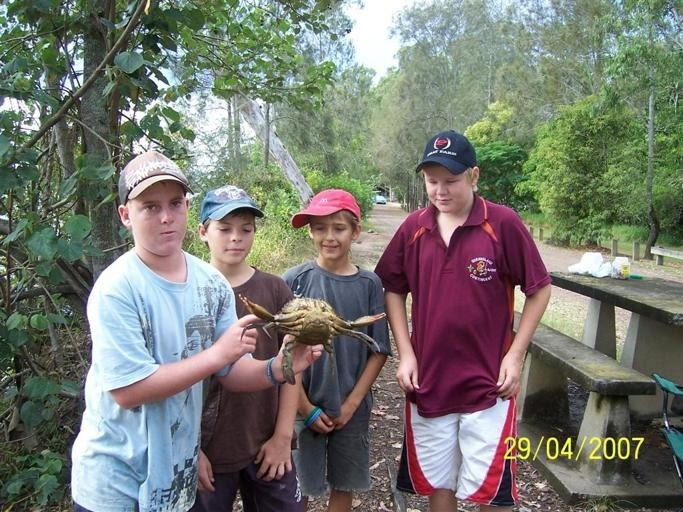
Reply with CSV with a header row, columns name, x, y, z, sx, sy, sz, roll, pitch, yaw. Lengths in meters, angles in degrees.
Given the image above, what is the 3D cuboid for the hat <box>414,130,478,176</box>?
name,x,y,z,sx,sy,sz,roll,pitch,yaw
hat,0.770,-0.732,4.136,0.275,0.258,0.411,7,9,33

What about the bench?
name,x,y,z,sx,sy,sz,roll,pitch,yaw
bench,2.363,1.427,5.938,0.488,0.962,2.000,-1,6,-5

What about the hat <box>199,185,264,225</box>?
name,x,y,z,sx,sy,sz,roll,pitch,yaw
hat,-0.772,-0.374,4.037,0.330,0.314,0.423,0,11,-28

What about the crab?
name,x,y,z,sx,sy,sz,roll,pitch,yaw
crab,-0.178,0.472,3.620,0.890,0.352,0.384,7,11,-13

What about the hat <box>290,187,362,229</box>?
name,x,y,z,sx,sy,sz,roll,pitch,yaw
hat,-0.109,-0.368,4.330,0.442,0.237,0.284,8,-13,-38

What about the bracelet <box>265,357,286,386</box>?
name,x,y,z,sx,sy,sz,roll,pitch,yaw
bracelet,-0.410,0.706,3.518,0.128,0.155,0.057,3,6,-19
